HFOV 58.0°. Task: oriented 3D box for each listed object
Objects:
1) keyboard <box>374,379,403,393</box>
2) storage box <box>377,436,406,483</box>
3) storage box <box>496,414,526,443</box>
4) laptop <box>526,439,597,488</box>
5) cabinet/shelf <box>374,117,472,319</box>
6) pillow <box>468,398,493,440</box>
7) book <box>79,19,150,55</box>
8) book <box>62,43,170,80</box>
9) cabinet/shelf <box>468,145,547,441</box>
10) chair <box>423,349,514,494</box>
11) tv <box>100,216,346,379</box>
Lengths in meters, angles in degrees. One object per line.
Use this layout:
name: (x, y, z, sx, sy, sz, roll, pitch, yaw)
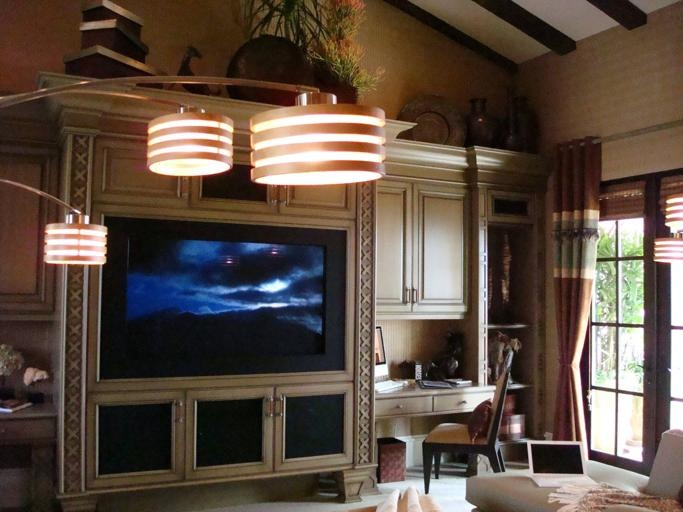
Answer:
keyboard: (0.424, 1.186, 5.604, 0.175, 0.078, 0.391, -3, -5, 32)
storage box: (0.377, 1.881, 5.701, 0.298, 0.375, 0.407, -14, -27, 36)
storage box: (1.652, 1.664, 6.027, 0.240, 0.270, 0.241, -2, -4, 27)
laptop: (1.486, 1.415, 4.207, 0.420, 0.233, 0.368, -2, -5, 2)
cabinet/shelf: (0.797, -0.225, 5.759, 0.974, 1.599, 0.312, 2, -4, -34)
pillow: (1.189, 1.439, 5.378, 0.210, 0.346, 0.435, 1, -4, 11)
book: (-1.743, -1.582, 4.737, 0.301, 0.228, 0.486, 1, -7, 10)
book: (-1.785, -1.539, 4.696, 0.380, 0.214, 0.609, 20, 18, 11)
cabinet/shelf: (1.716, 0.525, 6.225, 0.813, 2.856, 0.471, 0, -1, 21)
chair: (1.127, 1.501, 5.473, 0.830, 1.066, 0.778, 4, -7, -7)
tv: (-0.999, 0.334, 4.811, 1.341, 0.851, 0.057, 1, -3, -21)
